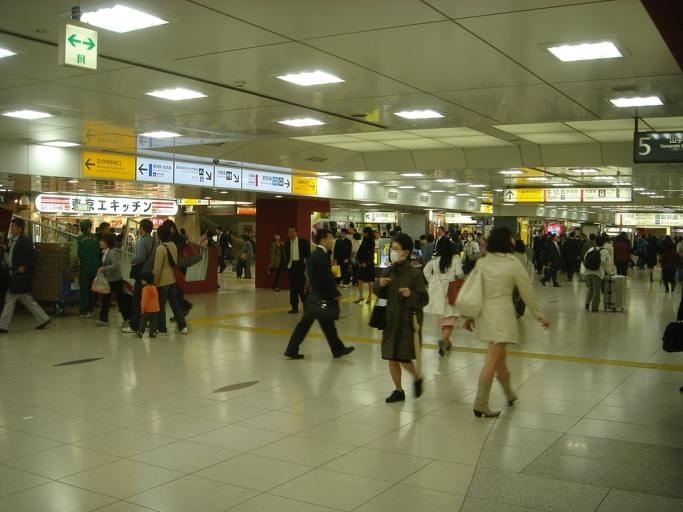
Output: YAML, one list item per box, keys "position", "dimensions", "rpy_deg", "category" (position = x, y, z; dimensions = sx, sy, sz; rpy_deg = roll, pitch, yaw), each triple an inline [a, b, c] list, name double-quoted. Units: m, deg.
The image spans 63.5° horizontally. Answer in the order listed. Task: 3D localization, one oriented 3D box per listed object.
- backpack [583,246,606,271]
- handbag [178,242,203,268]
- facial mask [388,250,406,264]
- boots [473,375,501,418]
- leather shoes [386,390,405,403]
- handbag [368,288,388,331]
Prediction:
- position: [6.016, 0.075, 13.347]
  dimensions: [0.579, 0.526, 0.407]
  rpy_deg: [4, 1, -32]
  category: "backpack"
- position: [-3.318, 0.013, 11.977]
  dimensions: [0.689, 0.633, 0.438]
  rpy_deg: [-2, -1, 23]
  category: "handbag"
- position: [0.636, 0.007, 6.311]
  dimensions: [0.130, 0.091, 0.161]
  rpy_deg: [1, 1, 44]
  category: "facial mask"
- position: [1.589, 1.487, 5.974]
  dimensions: [0.241, 0.442, 0.380]
  rpy_deg: [2, 3, 42]
  category: "boots"
- position: [0.632, 1.628, 6.435]
  dimensions: [0.229, 0.089, 0.108]
  rpy_deg: [-2, 1, -7]
  category: "leather shoes"
- position: [0.422, 0.613, 6.344]
  dimensions: [0.196, 0.489, 0.398]
  rpy_deg: [0, 2, 3]
  category: "handbag"
